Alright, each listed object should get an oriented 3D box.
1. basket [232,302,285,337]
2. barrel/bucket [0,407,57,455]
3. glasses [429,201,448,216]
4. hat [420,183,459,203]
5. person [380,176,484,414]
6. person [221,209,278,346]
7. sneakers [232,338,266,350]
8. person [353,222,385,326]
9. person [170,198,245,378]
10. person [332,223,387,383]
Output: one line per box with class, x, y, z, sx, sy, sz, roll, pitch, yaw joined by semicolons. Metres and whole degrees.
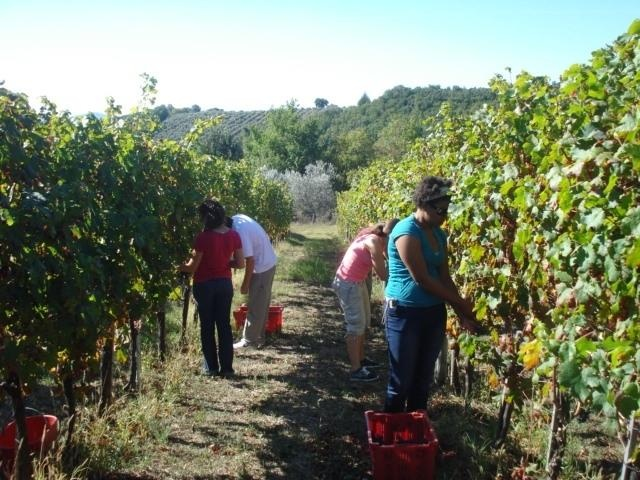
basket;-0.875;1.133;7.639;0.386;0.360;0.684;0;-5;1
barrel/bucket;-2.252;1.496;4.200;0.336;0.292;0.441;-4;1;-35
glasses;0.948;-0.267;4.344;0.109;0.048;0.126;12;-3;-8
hat;0.918;-0.398;4.375;0.277;0.216;0.155;3;5;15
person;0.884;0.582;4.508;0.574;2.285;0.556;1;11;6
person;-0.991;0.426;7.188;0.732;2.080;0.709;-8;17;-19
sneakers;-0.959;1.419;7.302;0.428;0.230;0.167;8;-8;-7
person;0.612;0.470;6.706;0.328;1.672;0.423;3;2;-10
person;-1.212;0.546;6.125;0.742;1.998;0.399;-3;6;-34
person;0.502;0.697;6.111;0.754;1.811;0.402;6;7;43
